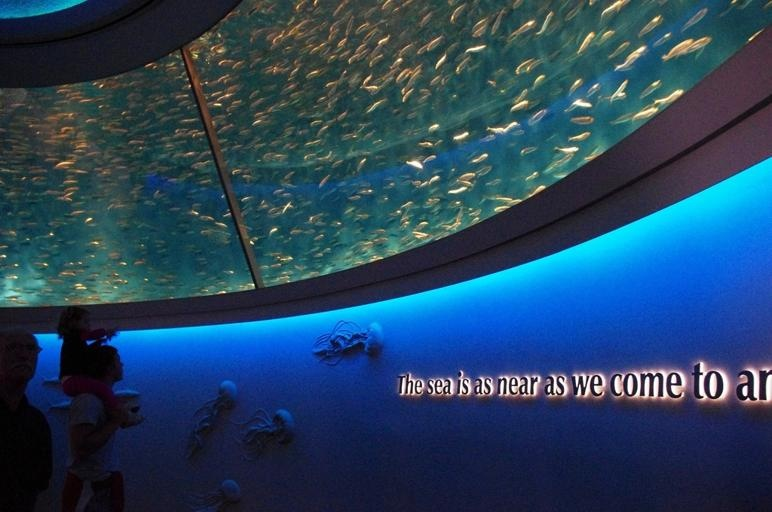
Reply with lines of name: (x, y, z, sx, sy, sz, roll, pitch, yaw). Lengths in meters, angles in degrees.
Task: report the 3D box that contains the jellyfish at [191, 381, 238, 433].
jellyfish: (-2.647, 2.383, 8.895, 0.791, 0.741, 0.147, -15, -24, 30)
